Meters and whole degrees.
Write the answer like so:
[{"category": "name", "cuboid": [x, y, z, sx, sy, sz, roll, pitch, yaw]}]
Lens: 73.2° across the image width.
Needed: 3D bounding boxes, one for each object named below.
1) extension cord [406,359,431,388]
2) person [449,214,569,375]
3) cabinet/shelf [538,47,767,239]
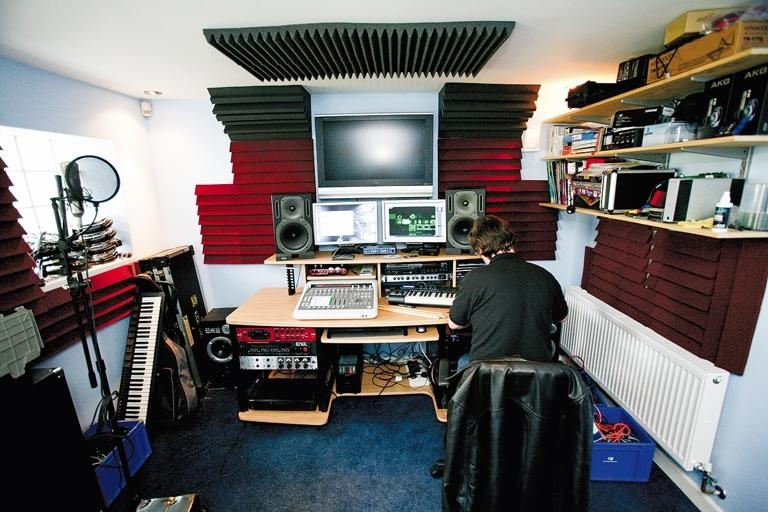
[{"category": "extension cord", "cuboid": [0.315, 1.127, 4.884, 0.168, 0.024, 0.350, -1, 16, -1]}, {"category": "person", "cuboid": [0.882, 0.350, 3.742, 0.822, 1.188, 0.541, 2, 15, 18]}, {"category": "cabinet/shelf", "cuboid": [2.024, -1.106, 4.014, 0.620, 0.736, 1.703, -8, 14, -22]}]
